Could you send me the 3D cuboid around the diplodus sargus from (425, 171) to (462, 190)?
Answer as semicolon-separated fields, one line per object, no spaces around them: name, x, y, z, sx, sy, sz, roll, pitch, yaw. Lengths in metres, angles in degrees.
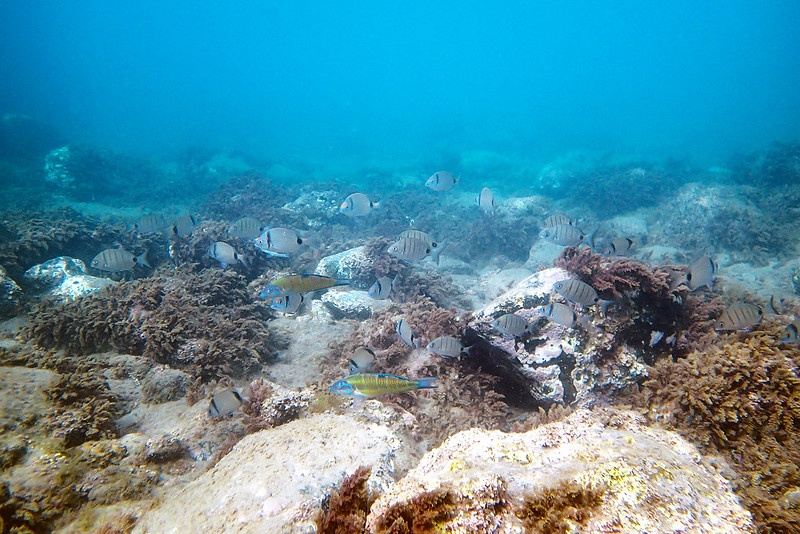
diplodus sargus;1.159;-2.178;13.045;1.048;0.622;0.370;-2;26;-8

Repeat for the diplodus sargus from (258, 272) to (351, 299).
diplodus sargus;-1.879;0.367;10.015;1.510;0.490;0.367;-8;29;-2

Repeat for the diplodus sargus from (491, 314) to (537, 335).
diplodus sargus;2.087;1.059;9.713;0.804;0.533;0.284;-10;29;-6

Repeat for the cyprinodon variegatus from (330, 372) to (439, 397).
cyprinodon variegatus;-0.410;2.041;9.078;1.820;0.520;0.402;0;-10;3

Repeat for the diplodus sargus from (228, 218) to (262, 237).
diplodus sargus;-3.568;-0.899;12.227;0.675;0.587;0.311;-5;29;3

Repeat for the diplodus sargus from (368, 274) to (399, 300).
diplodus sargus;-0.394;0.463;10.974;0.539;0.706;0.489;-10;29;-5

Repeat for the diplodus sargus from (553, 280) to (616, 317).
diplodus sargus;3.299;0.505;9.553;1.040;0.501;0.258;22;33;20
